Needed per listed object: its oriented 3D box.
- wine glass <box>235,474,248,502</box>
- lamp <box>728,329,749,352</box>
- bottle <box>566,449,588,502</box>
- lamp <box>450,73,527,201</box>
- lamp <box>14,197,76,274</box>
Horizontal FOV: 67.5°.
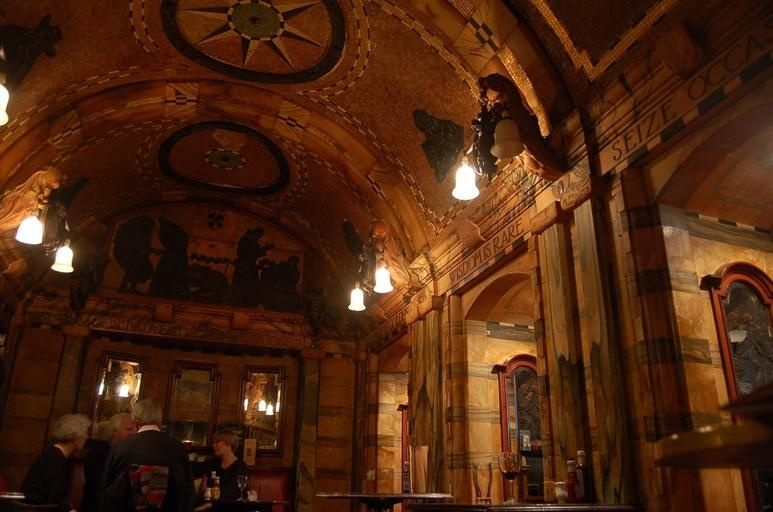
[{"bbox_3d":[-2.063,3.317,8.370,0.160,0.353,0.347,1,-29,3],"label":"wine glass"},{"bbox_3d":[4.010,0.959,6.610,0.260,0.233,0.066,2,0,-24],"label":"lamp"},{"bbox_3d":[2.135,2.439,6.464,0.213,0.542,0.192,-18,-35,33],"label":"bottle"},{"bbox_3d":[1.405,-1.602,7.760,0.524,1.544,1.309,23,-39,-10],"label":"lamp"},{"bbox_3d":[-5.748,-0.339,9.681,0.736,1.150,1.243,24,-5,-19],"label":"lamp"}]
